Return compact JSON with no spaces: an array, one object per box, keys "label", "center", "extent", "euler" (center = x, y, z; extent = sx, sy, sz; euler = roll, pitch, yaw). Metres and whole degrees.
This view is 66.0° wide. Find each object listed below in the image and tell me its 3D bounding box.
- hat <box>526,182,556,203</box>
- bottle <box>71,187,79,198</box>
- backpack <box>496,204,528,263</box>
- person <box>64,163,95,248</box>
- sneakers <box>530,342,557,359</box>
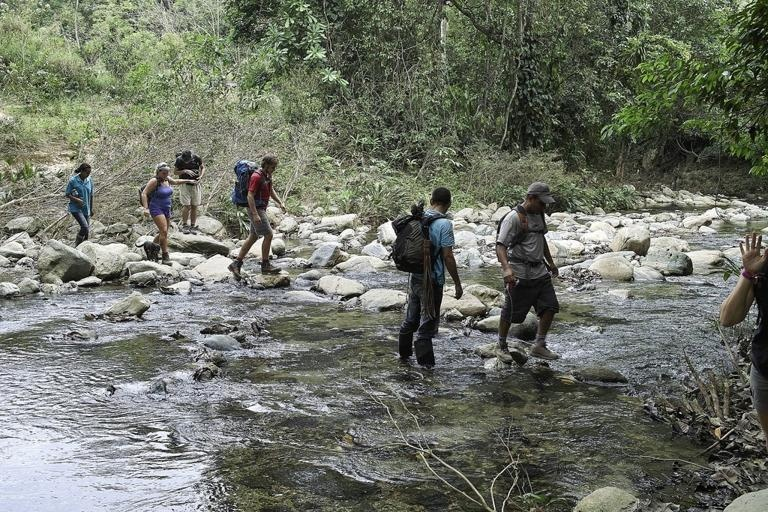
[{"label":"hat","center":[2.075,-0.838,7.786],"extent":[0.397,0.175,0.258],"euler":[10,7,19]},{"label":"bottle","center":[-6.688,-1.380,12.873],"extent":[0.158,0.182,0.202],"euler":[-15,-8,-22]},{"label":"backpack","center":[1.719,-0.359,8.023],"extent":[0.427,0.676,0.329],"euler":[1,6,0]},{"label":"person","center":[-6.794,-1.147,13.172],"extent":[0.526,1.817,0.944],"euler":[-2,7,-27]},{"label":"sneakers","center":[2.182,1.302,8.131],"extent":[0.425,0.227,0.143],"euler":[1,-1,5]}]
